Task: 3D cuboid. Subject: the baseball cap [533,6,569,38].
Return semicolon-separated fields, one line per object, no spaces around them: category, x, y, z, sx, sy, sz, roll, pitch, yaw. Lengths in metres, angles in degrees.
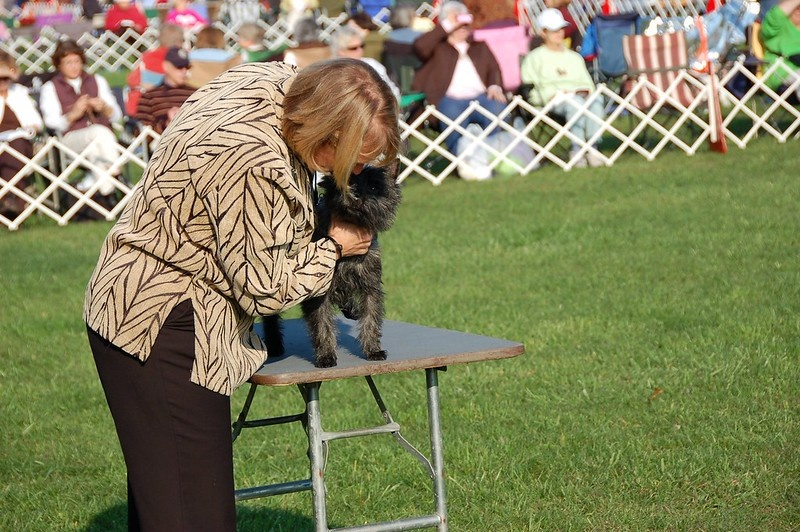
baseball cap;2.115;-3.435;16.049;0.368;0.256;0.484;-26;19;-33

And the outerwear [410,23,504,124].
outerwear;0.639;-2.821;16.391;1.654;1.412;0.997;1;2;-14

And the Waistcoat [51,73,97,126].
Waistcoat;-4.621;-2.315;15.907;0.654;0.865;0.471;-9;3;-31

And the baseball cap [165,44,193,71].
baseball cap;-3.097;-2.899;15.758;0.361;0.215;0.271;11;25;9

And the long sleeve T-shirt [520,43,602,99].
long sleeve T-shirt;2.264;-2.787;16.449;1.113;0.850;0.576;-7;20;-20

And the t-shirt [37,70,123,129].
t-shirt;-4.585;-2.300;16.236;1.093;1.005;0.604;-13;-7;-21

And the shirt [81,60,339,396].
shirt;-1.415;-0.231;8.573;1.753;2.337;0.559;-2;12;-3
